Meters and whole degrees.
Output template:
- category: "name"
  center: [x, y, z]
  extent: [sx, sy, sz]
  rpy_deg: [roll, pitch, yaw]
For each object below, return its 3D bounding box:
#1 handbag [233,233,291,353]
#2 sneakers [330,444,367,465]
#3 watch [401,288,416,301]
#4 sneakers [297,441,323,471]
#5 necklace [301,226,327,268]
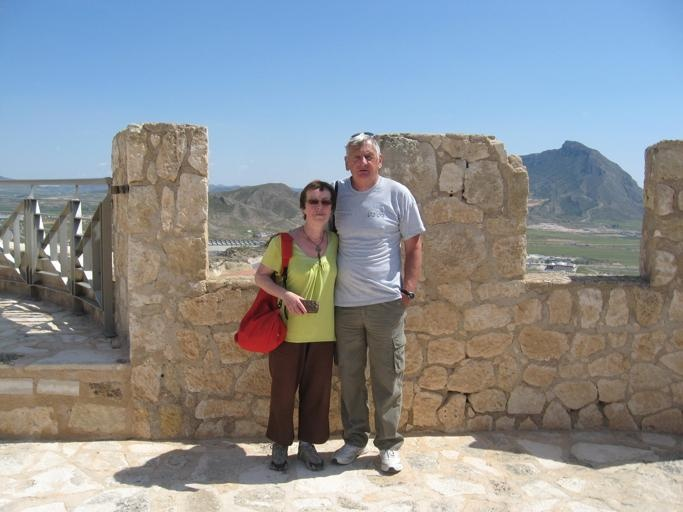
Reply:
- category: "handbag"
  center: [-0.522, 0.295, 5.106]
  extent: [0.412, 0.880, 0.288]
  rpy_deg: [12, 6, -9]
- category: "sneakers"
  center: [0.036, 1.472, 5.236]
  extent: [0.118, 0.092, 0.235]
  rpy_deg: [3, 2, 39]
- category: "watch"
  center: [0.498, 0.261, 5.163]
  extent: [0.100, 0.064, 0.105]
  rpy_deg: [17, -42, -14]
- category: "sneakers"
  center: [-0.233, 1.456, 5.177]
  extent: [0.108, 0.103, 0.269]
  rpy_deg: [-13, 12, -30]
- category: "necklace"
  center: [-0.194, -0.085, 5.061]
  extent: [0.182, 0.228, 0.085]
  rpy_deg: [2, 0, -16]
